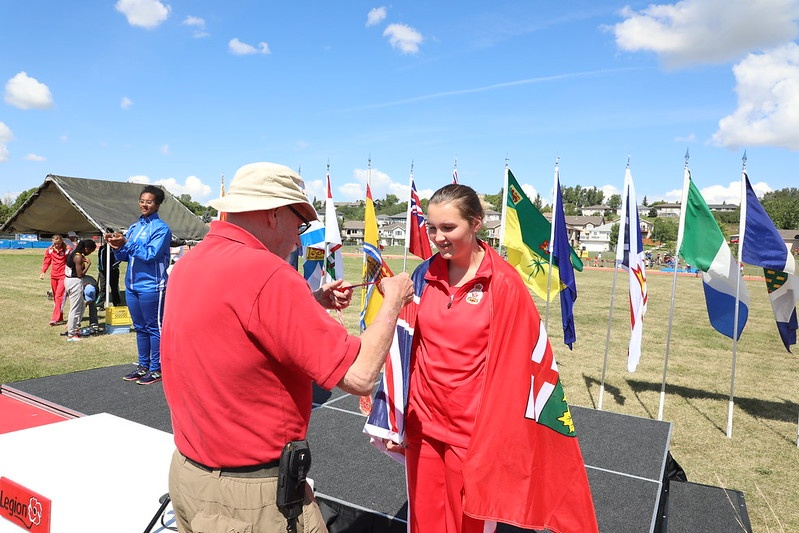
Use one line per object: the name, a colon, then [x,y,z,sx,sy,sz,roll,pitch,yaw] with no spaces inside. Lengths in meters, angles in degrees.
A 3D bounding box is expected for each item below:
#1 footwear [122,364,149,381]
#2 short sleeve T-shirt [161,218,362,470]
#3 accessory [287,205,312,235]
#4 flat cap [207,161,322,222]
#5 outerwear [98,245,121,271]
footwear: [-4.202,1.708,8.513,0.165,0.188,0.407,-2,-5,28]
short sleeve T-shirt: [-1.235,0.620,4.316,1.107,1.759,2.004,3,-1,-45]
accessory: [-0.768,-0.363,4.103,0.055,0.193,0.181,-20,-3,-12]
flat cap: [-0.965,-0.500,3.822,0.593,0.409,0.752,2,-12,36]
outerwear: [-7.121,-0.189,13.033,0.368,0.715,0.517,3,14,13]
